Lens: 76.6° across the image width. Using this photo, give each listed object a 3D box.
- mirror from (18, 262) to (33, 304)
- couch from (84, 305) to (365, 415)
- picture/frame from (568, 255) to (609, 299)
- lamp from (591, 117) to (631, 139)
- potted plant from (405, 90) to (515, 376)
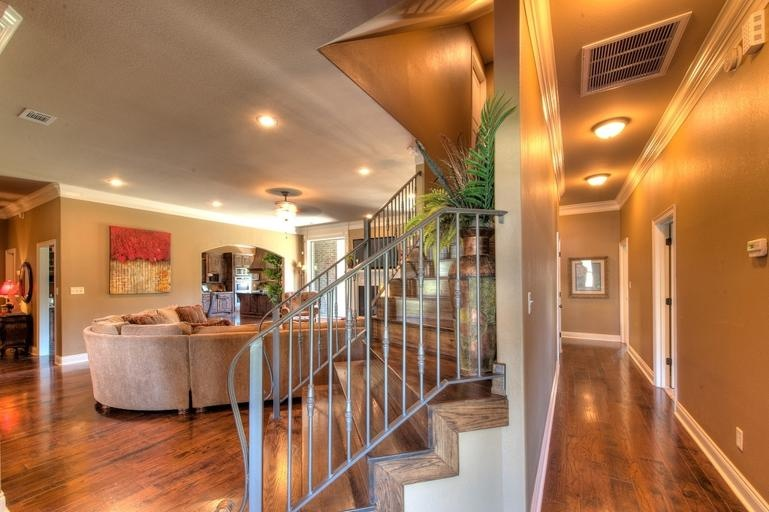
[{"bbox_3d":[-6.669,0.493,9.057,0.069,0.625,0.638,-5,-18,-38],"label":"mirror"},{"bbox_3d":[-2.793,1.412,6.335,2.206,1.152,0.555,-2,-4,4],"label":"couch"},{"bbox_3d":[4.234,0.438,10.014,0.930,1.011,0.070,-3,-8,41],"label":"picture/frame"},{"bbox_3d":[2.952,-1.657,6.386,0.451,0.146,0.514,-2,-5,11],"label":"lamp"},{"bbox_3d":[0.814,-0.197,4.736,0.688,2.616,0.862,-1,-4,-15],"label":"potted plant"}]
